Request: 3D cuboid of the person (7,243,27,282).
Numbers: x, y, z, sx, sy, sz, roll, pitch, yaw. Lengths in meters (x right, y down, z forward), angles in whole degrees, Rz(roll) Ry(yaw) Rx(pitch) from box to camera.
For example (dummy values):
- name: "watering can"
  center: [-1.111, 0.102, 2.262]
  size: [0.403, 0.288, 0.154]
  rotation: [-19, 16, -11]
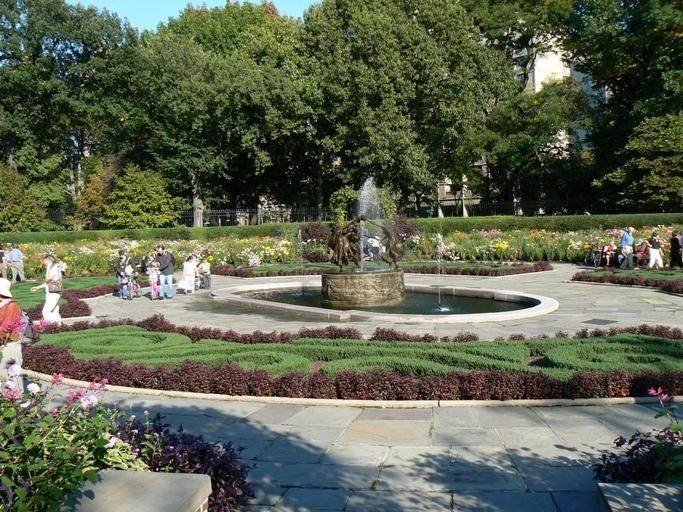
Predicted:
- name: "person"
  center: [-14.904, 0.314, 24.565]
  size: [0.700, 1.792, 1.587]
  rotation: [-2, 1, -31]

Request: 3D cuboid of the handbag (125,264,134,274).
- name: "handbag"
  center: [-7.351, 0.465, 18.601]
  size: [0.206, 0.322, 0.679]
  rotation: [-2, 0, -19]

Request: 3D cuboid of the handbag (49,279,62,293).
- name: "handbag"
  center: [-6.901, 0.725, 12.931]
  size: [0.385, 0.313, 0.167]
  rotation: [0, -2, -34]
